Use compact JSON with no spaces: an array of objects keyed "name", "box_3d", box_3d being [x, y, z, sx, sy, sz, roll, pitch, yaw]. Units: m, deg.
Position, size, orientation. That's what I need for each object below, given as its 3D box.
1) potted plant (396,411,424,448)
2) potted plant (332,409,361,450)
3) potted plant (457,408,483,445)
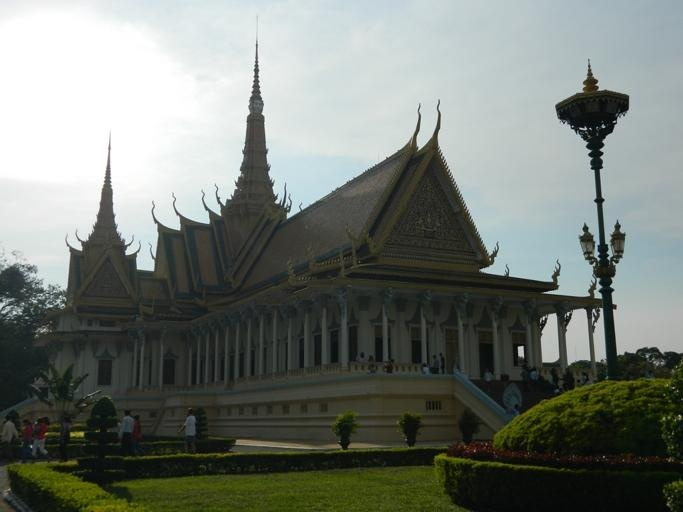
[{"name":"potted plant","box_3d":[1.973,4.683,25.728,0.853,1.032,0.916,5,-20,0]},{"name":"potted plant","box_3d":[0.072,4.737,25.605,0.652,1.012,1.008,-2,-11,12]},{"name":"potted plant","box_3d":[3.984,5.141,28.199,0.763,1.180,0.847,3,-18,8]}]
